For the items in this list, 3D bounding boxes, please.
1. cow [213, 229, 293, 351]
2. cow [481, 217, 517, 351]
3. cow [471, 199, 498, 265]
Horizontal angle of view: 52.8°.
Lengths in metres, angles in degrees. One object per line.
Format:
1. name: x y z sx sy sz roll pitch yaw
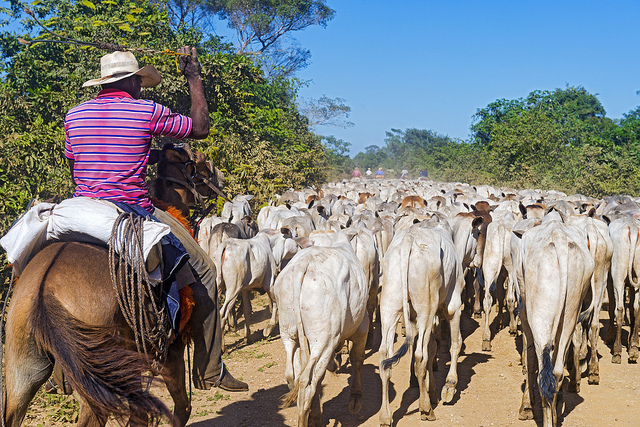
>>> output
1. cow: -1.556 1.645 15.279 0.885 2.697 3.865 -1 -3 25
2. cow: 4.563 1.408 16.695 1.071 3.116 5.033 0 4 12
3. cow: 3.995 0.503 15.602 0.534 1.449 0.746 5 -22 0
